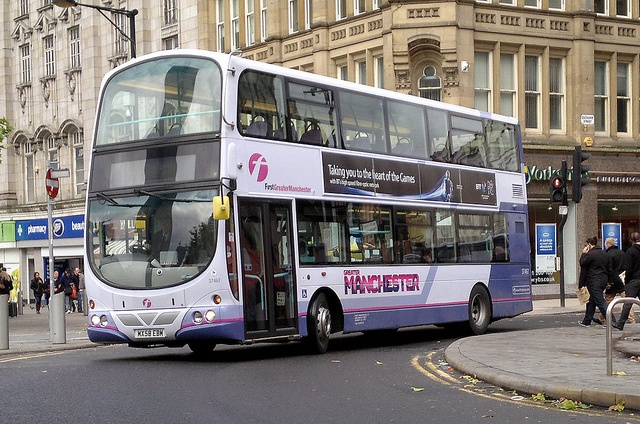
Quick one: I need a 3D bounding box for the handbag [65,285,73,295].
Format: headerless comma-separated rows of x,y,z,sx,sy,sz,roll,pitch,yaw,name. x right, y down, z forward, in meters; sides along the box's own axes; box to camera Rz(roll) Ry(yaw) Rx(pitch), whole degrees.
-11.867,3.734,36.749,0.366,0.446,0.350,-1,-4,-18,handbag

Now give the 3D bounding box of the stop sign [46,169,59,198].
-7.495,-0.769,21.802,0.294,0.889,0.858,-1,-4,-22,stop sign

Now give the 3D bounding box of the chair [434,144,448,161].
3.209,-1.536,20.418,0.317,0.216,0.523,2,-9,0,chair

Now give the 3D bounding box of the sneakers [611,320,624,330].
7.724,2.955,20.139,0.157,0.209,0.484,-12,-30,40,sneakers

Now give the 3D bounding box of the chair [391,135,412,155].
2.024,-1.655,19.384,0.522,0.534,0.362,-2,4,-23,chair

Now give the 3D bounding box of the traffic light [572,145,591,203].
9.116,-1.293,27.105,0.609,1.836,0.375,0,5,7,traffic light

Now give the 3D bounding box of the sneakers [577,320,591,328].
7.235,3.097,21.410,0.371,0.174,0.152,4,4,31,sneakers
